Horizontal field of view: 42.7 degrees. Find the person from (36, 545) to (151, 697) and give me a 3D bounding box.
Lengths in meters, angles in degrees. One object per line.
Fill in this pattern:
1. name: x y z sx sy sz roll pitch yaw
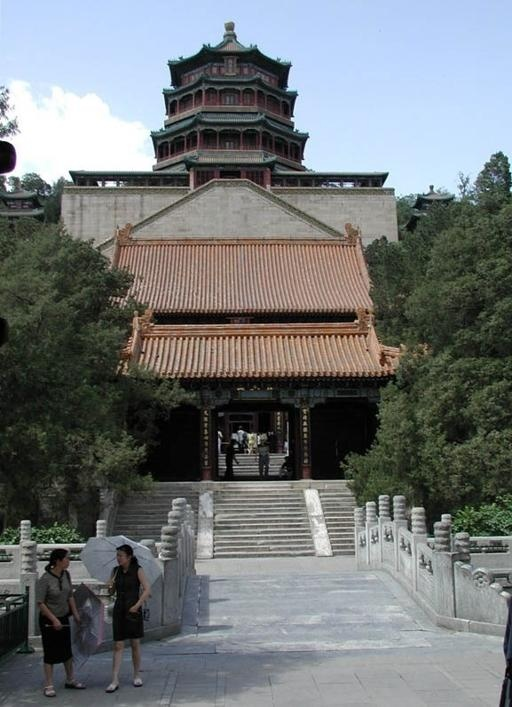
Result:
1. person: -1.350 2.182 5.420 0.896 1.107 0.475 3 -13 -17
